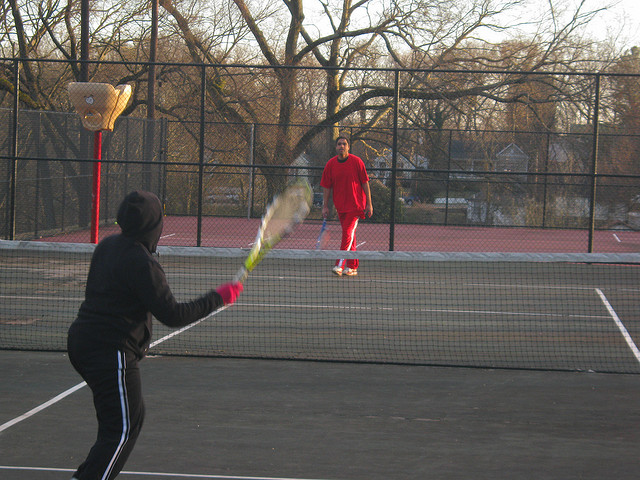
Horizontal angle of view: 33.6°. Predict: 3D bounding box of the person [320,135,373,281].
[{"bbox_3d":[0.466,-0.600,18.670,0.983,2.321,1.258,0,1,10],"label":"person"}]
